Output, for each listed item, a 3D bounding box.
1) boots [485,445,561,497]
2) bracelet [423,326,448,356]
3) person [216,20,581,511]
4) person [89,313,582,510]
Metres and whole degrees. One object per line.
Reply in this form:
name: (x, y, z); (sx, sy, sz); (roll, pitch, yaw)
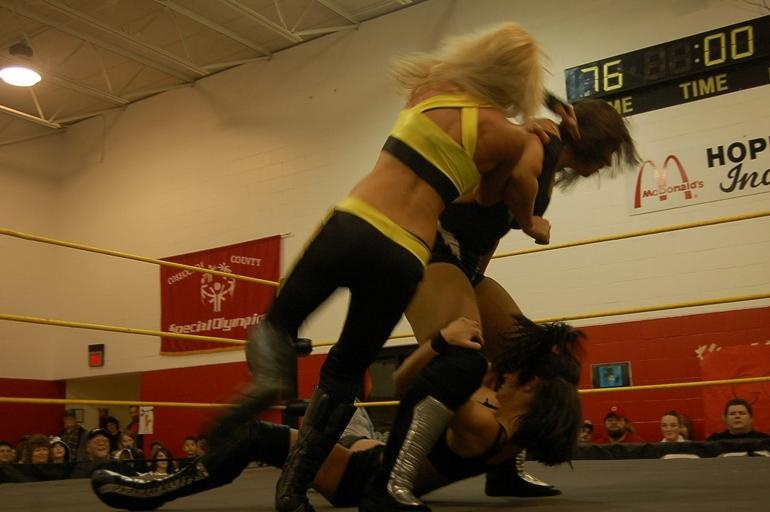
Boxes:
boots: (0.603, 0.969, 2.650); (0.313, 0.212, 0.109); (-6, -38, 18)
bracelet: (0.202, 0.328, 2.302); (0.082, 0.076, 0.079); (-7, -48, -25)
person: (0.012, 0.009, 2.219); (1.212, 1.797, 0.359); (0, -7, -16)
person: (0.019, 0.569, 2.544); (1.436, 0.592, 0.920); (-2, -21, 17)
